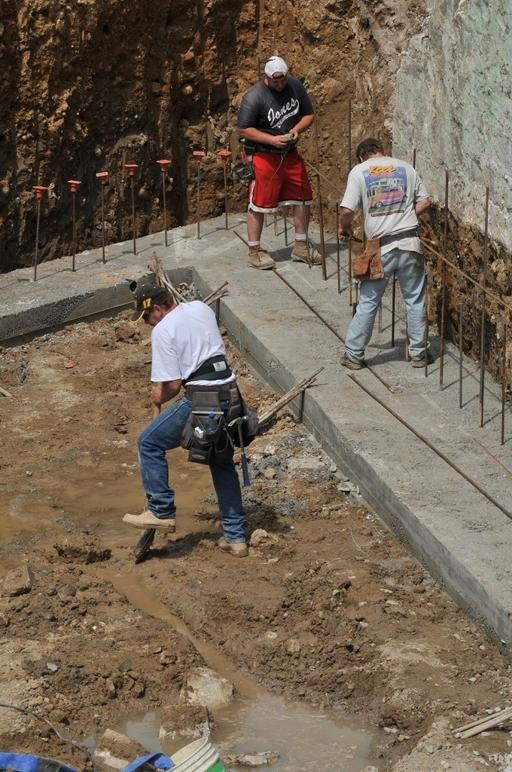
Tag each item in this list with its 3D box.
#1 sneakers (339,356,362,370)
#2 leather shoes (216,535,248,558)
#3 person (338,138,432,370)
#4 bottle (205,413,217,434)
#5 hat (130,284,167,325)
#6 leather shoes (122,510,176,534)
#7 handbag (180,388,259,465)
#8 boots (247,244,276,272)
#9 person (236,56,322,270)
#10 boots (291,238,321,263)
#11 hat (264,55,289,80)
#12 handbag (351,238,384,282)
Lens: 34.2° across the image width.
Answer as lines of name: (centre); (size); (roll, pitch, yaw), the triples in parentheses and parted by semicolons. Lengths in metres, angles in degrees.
sneakers: (0.659, -0.160, 5.829); (0.076, 0.069, 0.149); (-8, 23, -25)
leather shoes: (-0.131, 0.845, 4.353); (0.071, 0.067, 0.161); (-18, 31, -41)
person: (0.848, -0.853, 5.520); (0.612, 1.523, 0.516); (-3, 7, 5)
bottle: (-0.209, 0.177, 3.948); (0.064, 0.102, 0.032); (-5, 7, -7)
hat: (-0.518, -0.406, 4.070); (0.205, 0.120, 0.130); (-34, 28, -2)
leather shoes: (-0.558, 0.713, 4.428); (0.311, 0.122, 0.103); (8, -6, 4)
handbag: (-0.191, 0.208, 4.141); (0.239, 0.382, 0.459); (5, 20, 43)
boots: (0.101, -1.215, 7.925); (0.306, 0.195, 0.169); (19, 31, 42)
person: (0.201, -1.946, 7.460); (0.678, 1.771, 0.963); (-4, 7, 2)
boots: (0.450, -1.284, 7.965); (0.310, 0.192, 0.162); (12, 24, 18)
hat: (0.160, -2.676, 7.017); (0.160, 0.234, 0.266); (-3, 6, 6)
handbag: (0.712, -0.807, 5.377); (0.175, 0.260, 0.169); (0, 8, 32)
